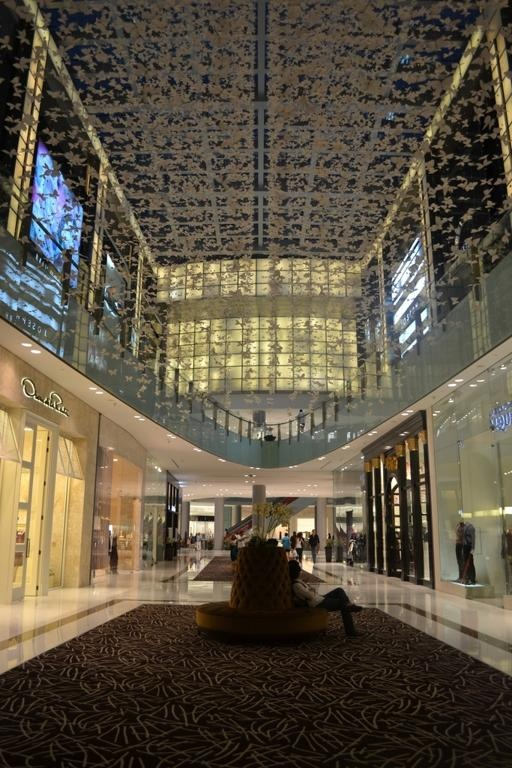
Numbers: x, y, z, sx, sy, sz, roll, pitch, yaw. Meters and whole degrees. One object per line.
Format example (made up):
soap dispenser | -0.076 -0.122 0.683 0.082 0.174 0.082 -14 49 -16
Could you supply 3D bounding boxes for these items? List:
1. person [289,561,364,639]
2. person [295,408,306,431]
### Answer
person | 0.794 2.484 5.891 0.717 0.955 0.312 -15 -17 4
person | 1.830 1.540 20.669 0.229 0.746 0.835 3 -16 -13
